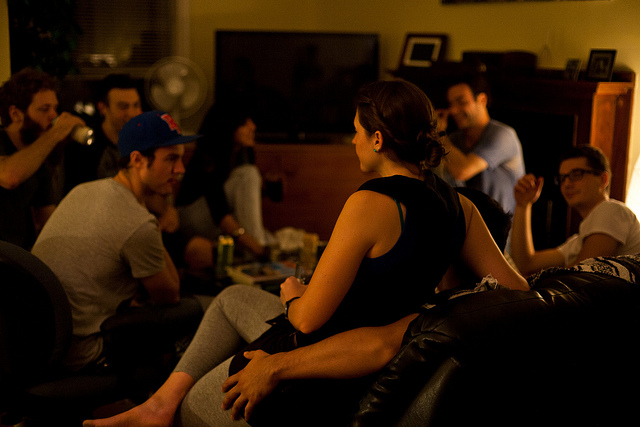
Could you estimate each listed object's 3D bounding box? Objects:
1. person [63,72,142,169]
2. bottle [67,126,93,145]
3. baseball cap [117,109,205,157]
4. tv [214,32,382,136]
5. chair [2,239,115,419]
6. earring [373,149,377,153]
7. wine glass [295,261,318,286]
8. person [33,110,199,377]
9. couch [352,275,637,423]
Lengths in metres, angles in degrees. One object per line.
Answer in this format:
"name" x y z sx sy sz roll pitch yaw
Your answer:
"person" -1.369 -0.580 3.600 0.715 0.711 0.336 -6 16 -44
"bottle" -1.417 -0.465 3.097 0.120 0.075 0.073 17 36 32
"baseball cap" -0.765 -0.409 2.530 0.429 0.189 0.278 -10 10 2
"tv" -0.251 -1.061 4.177 1.286 0.838 0.049 -1 11 -11
"chair" -1.222 0.505 2.539 0.657 0.805 0.599 2 2 -42
"earring" 0.186 -0.218 1.807 0.011 0.012 0.012 3 2 8
"wine glass" -0.049 0.249 2.130 0.082 0.093 0.080 -4 -5 45
"person" -0.950 0.209 2.627 0.836 1.415 0.541 0 20 -39
"couch" 0.599 0.254 1.678 0.803 0.570 0.439 -3 6 -22
